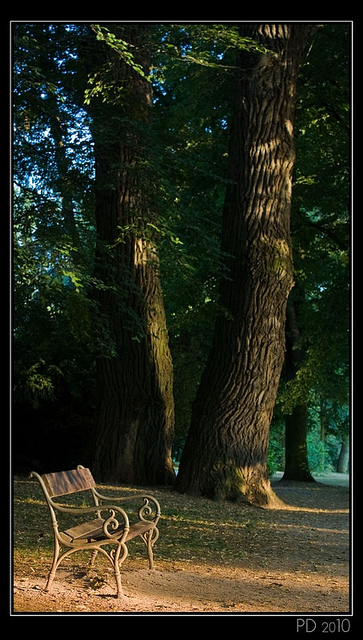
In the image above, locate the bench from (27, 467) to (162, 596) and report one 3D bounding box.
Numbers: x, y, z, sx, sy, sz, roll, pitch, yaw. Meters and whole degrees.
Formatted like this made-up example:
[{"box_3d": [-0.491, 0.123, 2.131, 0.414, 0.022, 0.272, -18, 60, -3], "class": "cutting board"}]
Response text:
[{"box_3d": [-0.746, 1.823, 9.055, 0.839, 0.973, 1.303, 0, -3, 12], "class": "bench"}]
